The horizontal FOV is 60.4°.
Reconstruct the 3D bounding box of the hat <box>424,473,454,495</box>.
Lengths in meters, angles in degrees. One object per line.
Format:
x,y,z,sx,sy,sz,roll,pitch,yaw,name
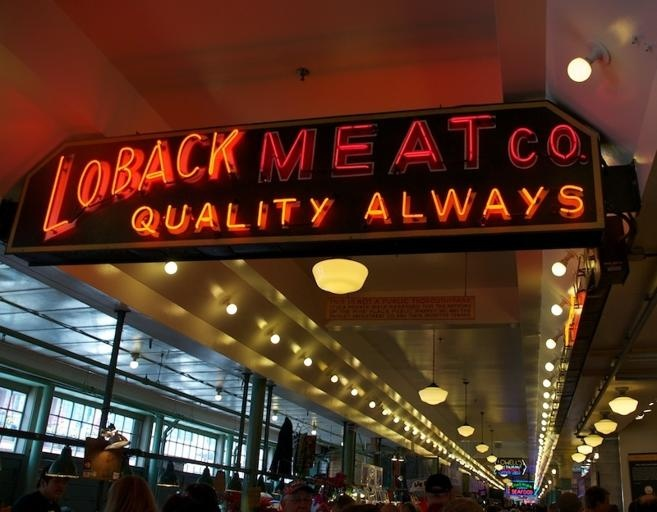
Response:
0.882,1.835,4.545,0.215,0.144,0.204,-5,-14,7,hat

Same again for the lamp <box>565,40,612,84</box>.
1.930,-1.452,4.258,0.177,0.329,0.175,31,-35,46,lamp

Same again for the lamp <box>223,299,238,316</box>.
-1.710,0.882,9.830,0.198,0.191,0.401,-20,19,-15,lamp

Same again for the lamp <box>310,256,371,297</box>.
0.133,0.276,6.368,0.658,0.212,0.645,11,-25,-17,lamp
